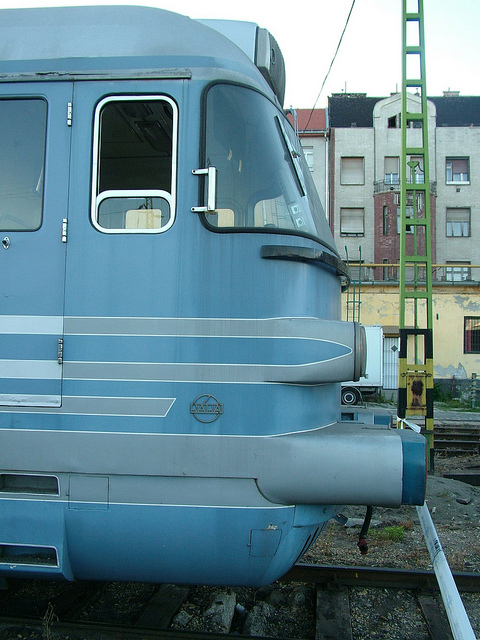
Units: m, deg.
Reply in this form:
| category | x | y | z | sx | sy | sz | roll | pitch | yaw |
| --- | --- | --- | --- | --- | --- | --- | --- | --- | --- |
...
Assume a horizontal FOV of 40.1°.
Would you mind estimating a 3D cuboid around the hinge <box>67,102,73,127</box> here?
| category | x | y | z | sx | sy | sz | roll | pitch | yaw |
| --- | --- | --- | --- | --- | --- | --- | --- | --- | --- |
| hinge | -0.936 | -1.138 | 3.627 | 0.025 | 0.131 | 0.009 | 1 | -2 | 4 |

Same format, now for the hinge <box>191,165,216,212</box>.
| category | x | y | z | sx | sy | sz | roll | pitch | yaw |
| --- | --- | --- | --- | --- | --- | --- | --- | --- | --- |
| hinge | -0.194 | -0.715 | 3.525 | 0.129 | 0.266 | 0.083 | 1 | -2 | -5 |

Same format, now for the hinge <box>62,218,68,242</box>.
| category | x | y | z | sx | sy | sz | roll | pitch | yaw |
| --- | --- | --- | --- | --- | --- | --- | --- | --- | --- |
| hinge | -0.950 | -0.493 | 3.576 | 0.026 | 0.131 | 0.018 | 1 | -2 | -9 |

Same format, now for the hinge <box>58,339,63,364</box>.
| category | x | y | z | sx | sy | sz | roll | pitch | yaw |
| --- | --- | --- | --- | --- | --- | --- | --- | --- | --- |
| hinge | -0.961 | 0.164 | 3.524 | 0.026 | 0.130 | 0.015 | 1 | -2 | -9 |
